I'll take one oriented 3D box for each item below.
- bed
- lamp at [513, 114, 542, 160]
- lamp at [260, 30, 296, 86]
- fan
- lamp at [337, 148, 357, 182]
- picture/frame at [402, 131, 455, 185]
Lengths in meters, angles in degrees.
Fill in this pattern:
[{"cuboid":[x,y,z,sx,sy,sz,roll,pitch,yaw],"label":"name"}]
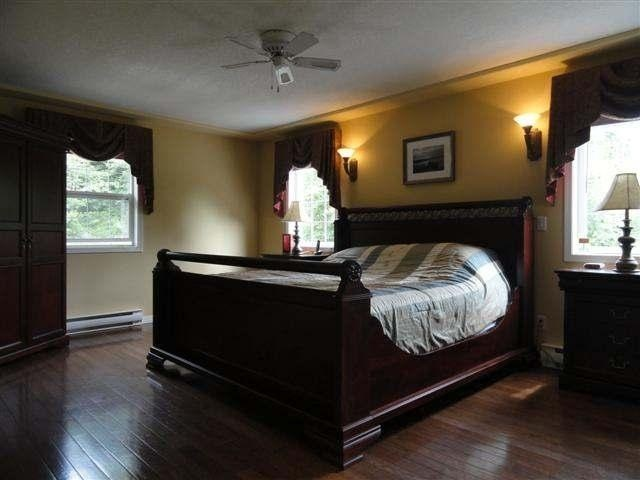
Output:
[{"cuboid":[0.258,0.377,4.214,2.597,1.496,2.735,9,13,43],"label":"bed"},{"cuboid":[1.934,-0.938,4.353,0.236,0.410,0.222,0,3,-5],"label":"lamp"},{"cuboid":[-0.319,-1.511,3.877,0.319,0.126,0.354,8,-19,-28],"label":"lamp"},{"cuboid":[-0.284,-1.553,3.881,0.594,0.170,0.540,-5,-8,41],"label":"fan"},{"cuboid":[0.342,-0.917,5.753,0.266,0.412,0.198,4,11,21],"label":"lamp"},{"cuboid":[1.208,-0.890,5.045,0.651,0.550,0.050,1,3,42],"label":"picture/frame"}]
